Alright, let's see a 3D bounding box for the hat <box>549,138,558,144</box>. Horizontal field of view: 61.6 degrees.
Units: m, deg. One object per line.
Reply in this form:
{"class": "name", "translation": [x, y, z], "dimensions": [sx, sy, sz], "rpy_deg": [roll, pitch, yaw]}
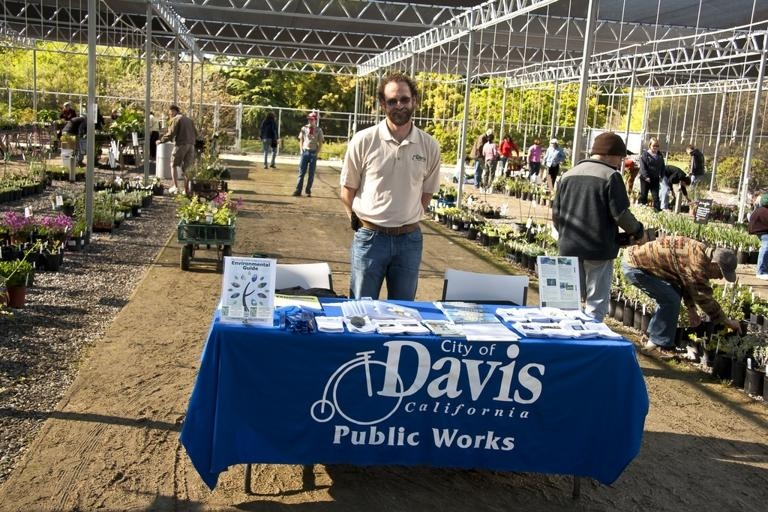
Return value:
{"class": "hat", "translation": [5.703, -3.809, 21.666], "dimensions": [0.242, 0.135, 0.387], "rpy_deg": [0, 16, 12]}

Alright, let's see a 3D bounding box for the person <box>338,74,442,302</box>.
{"class": "person", "translation": [0.061, -0.570, 5.654], "dimensions": [0.871, 1.976, 0.525], "rpy_deg": [2, 7, -5]}

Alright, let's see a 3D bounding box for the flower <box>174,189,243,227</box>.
{"class": "flower", "translation": [-2.738, -0.880, 10.141], "dimensions": [0.932, 0.498, 1.026], "rpy_deg": [2, 15, -10]}

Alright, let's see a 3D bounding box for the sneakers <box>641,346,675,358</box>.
{"class": "sneakers", "translation": [3.231, 1.160, 7.606], "dimensions": [0.358, 0.190, 0.156], "rpy_deg": [1, 4, 21]}

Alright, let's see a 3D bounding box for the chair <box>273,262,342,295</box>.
{"class": "chair", "translation": [-0.715, 0.211, 5.825], "dimensions": [0.519, 0.242, 0.399], "rpy_deg": [2, 9, -11]}

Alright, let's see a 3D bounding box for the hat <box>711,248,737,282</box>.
{"class": "hat", "translation": [3.591, 0.110, 6.819], "dimensions": [0.253, 0.350, 0.322], "rpy_deg": [7, 9, 29]}

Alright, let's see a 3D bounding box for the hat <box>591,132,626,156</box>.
{"class": "hat", "translation": [2.311, -1.119, 6.689], "dimensions": [0.246, 0.209, 0.277], "rpy_deg": [3, 3, 6]}
